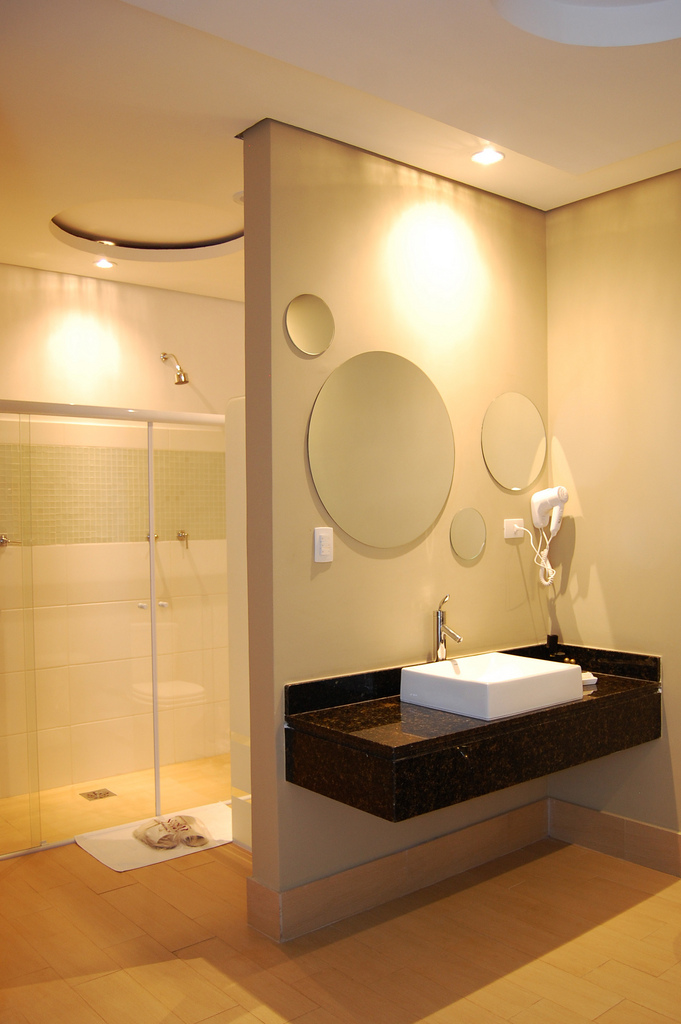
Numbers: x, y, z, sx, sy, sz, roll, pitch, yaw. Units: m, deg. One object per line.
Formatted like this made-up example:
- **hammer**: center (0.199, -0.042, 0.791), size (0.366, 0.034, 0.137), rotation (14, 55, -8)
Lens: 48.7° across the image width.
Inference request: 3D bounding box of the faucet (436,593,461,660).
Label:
- **faucet**: center (0.350, 0.397, 2.491), size (0.074, 0.222, 0.333), rotation (-1, 0, 7)

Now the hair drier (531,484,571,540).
- **hair drier**: center (0.807, -0.010, 2.891), size (0.171, 0.250, 0.135), rotation (-8, -6, 36)

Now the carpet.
- **carpet**: center (-0.714, 1.301, 3.022), size (0.607, 0.034, 0.483), rotation (-1, 0, -35)

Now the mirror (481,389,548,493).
- **mirror**: center (0.659, -0.272, 2.893), size (0.019, 0.455, 0.358), rotation (1, 3, 42)

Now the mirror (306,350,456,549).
- **mirror**: center (0.113, -0.197, 2.400), size (0.010, 0.675, 0.592), rotation (-2, 0, 43)

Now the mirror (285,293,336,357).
- **mirror**: center (-0.096, -0.549, 2.203), size (0.025, 0.134, 0.177), rotation (-1, 1, 41)

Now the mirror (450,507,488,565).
- **mirror**: center (0.460, 0.088, 2.710), size (0.037, 0.181, 0.177), rotation (0, -20, 25)
